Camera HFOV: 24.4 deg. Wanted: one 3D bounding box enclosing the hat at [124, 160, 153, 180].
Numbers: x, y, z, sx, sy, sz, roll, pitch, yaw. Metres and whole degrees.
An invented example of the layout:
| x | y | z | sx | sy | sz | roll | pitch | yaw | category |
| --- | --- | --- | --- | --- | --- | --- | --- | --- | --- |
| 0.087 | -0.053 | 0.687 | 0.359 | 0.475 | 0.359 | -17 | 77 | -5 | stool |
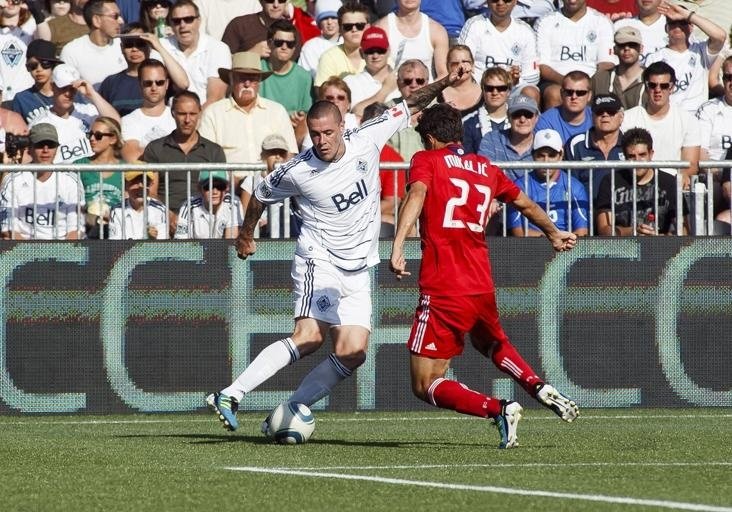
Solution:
| x | y | z | sx | sy | sz | roll | pitch | yaw | category |
| --- | --- | --- | --- | --- | --- | --- | --- | --- | --- |
| -2.534 | -0.948 | 19.163 | 0.334 | 0.207 | 0.370 | 1 | 13 | 8 | hat |

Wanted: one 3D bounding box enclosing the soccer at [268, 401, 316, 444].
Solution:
| x | y | z | sx | sy | sz | roll | pitch | yaw | category |
| --- | --- | --- | --- | --- | --- | --- | --- | --- | --- |
| -0.752 | 1.651 | 16.665 | 0.387 | 0.419 | 0.398 | -18 | -7 | 7 | soccer |

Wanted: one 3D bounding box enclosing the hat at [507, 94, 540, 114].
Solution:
| x | y | z | sx | sy | sz | roll | pitch | yaw | category |
| --- | --- | --- | --- | --- | --- | --- | --- | --- | --- |
| 1.839 | -1.791 | 20.038 | 0.307 | 0.182 | 0.476 | 2 | 3 | 11 | hat |

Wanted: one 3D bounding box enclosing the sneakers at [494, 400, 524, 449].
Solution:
| x | y | z | sx | sy | sz | roll | pitch | yaw | category |
| --- | --- | --- | --- | --- | --- | --- | --- | --- | --- |
| 1.359 | 1.677 | 16.301 | 0.272 | 0.563 | 0.196 | 1 | 19 | 4 | sneakers |

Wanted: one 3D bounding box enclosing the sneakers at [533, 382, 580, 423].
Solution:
| x | y | z | sx | sy | sz | roll | pitch | yaw | category |
| --- | --- | --- | --- | --- | --- | --- | --- | --- | --- |
| 1.847 | 1.422 | 16.392 | 0.537 | 0.232 | 0.287 | 33 | 11 | 3 | sneakers |
